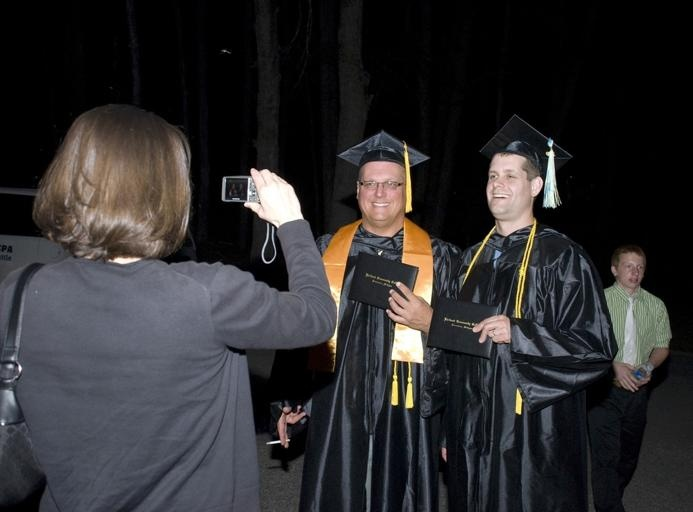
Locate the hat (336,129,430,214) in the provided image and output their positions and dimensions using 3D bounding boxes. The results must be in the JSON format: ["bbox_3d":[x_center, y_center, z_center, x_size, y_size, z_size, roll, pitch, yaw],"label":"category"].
[{"bbox_3d":[0.258,-0.725,4.545,0.645,0.643,0.717,9,-12,-42],"label":"hat"}]
